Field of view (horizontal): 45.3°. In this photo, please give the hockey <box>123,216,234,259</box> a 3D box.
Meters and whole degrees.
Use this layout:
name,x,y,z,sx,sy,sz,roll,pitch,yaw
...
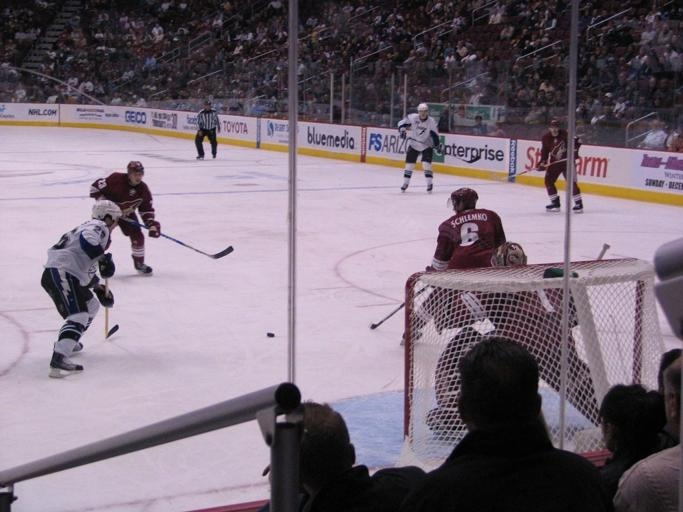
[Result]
name,x,y,z,sx,sy,sz,roll,pitch,yaw
hockey,-1.760,-0.177,8.813,0.949,0.111,0.171,20,-28,-9

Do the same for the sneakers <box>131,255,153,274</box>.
name,x,y,z,sx,sy,sz,roll,pitch,yaw
sneakers,-1.809,0.096,7.624,0.272,0.175,0.093,4,12,18

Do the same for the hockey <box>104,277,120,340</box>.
name,x,y,z,sx,sy,sz,roll,pitch,yaw
hockey,-1.727,0.414,6.154,0.143,0.523,0.030,-16,63,-28

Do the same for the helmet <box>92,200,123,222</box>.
name,x,y,z,sx,sy,sz,roll,pitch,yaw
helmet,-1.682,-0.327,5.892,0.180,0.134,0.135,-9,27,-16

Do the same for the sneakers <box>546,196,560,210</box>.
name,x,y,z,sx,sy,sz,roll,pitch,yaw
sneakers,2.830,-0.710,11.095,0.178,0.214,0.255,3,12,14

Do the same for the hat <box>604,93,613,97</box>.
name,x,y,z,sx,sy,sz,roll,pitch,yaw
hat,4.272,-2.605,13.270,0.092,0.033,0.093,15,28,41

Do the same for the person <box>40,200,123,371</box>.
name,x,y,z,sx,sy,sz,roll,pitch,yaw
person,-1.760,0.183,5.483,0.418,0.982,0.992,0,12,0

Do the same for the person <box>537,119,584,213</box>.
name,x,y,z,sx,sy,sz,roll,pitch,yaw
person,2.981,-1.243,11.229,0.634,1.228,1.399,3,12,14

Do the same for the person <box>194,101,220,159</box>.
name,x,y,z,sx,sy,sz,roll,pitch,yaw
person,-2.753,-2.552,16.724,0.486,1.179,0.890,-2,12,-9

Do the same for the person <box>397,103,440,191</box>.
name,x,y,z,sx,sy,sz,roll,pitch,yaw
person,1.205,-1.732,13.069,0.631,1.358,1.091,1,12,5

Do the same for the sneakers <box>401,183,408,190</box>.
name,x,y,z,sx,sy,sz,roll,pitch,yaw
sneakers,0.963,-1.087,12.824,0.088,0.069,0.265,-1,18,8
